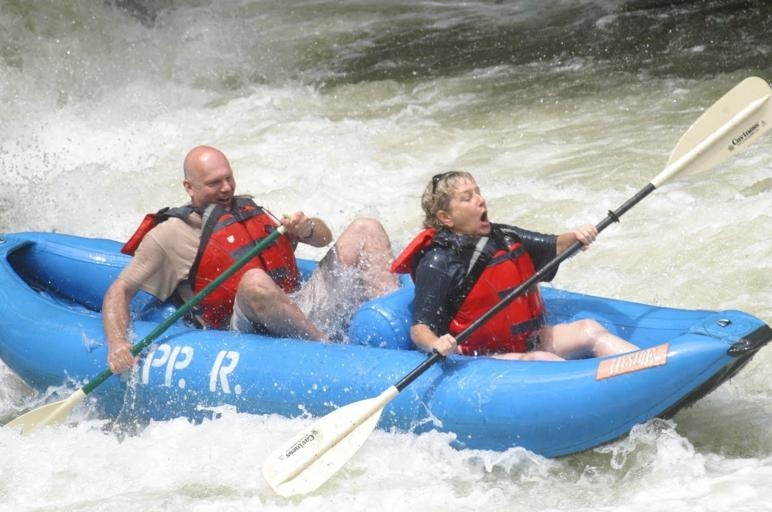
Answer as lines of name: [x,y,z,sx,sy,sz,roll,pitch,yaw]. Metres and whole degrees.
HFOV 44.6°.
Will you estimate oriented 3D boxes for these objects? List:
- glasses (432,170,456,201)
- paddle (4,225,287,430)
glasses: [0.385,-0.501,6.584,0.155,0.173,0.064,-3,24,-28]
paddle: [-1.692,0.563,6.830,0.154,2.240,0.307,31,25,-58]
